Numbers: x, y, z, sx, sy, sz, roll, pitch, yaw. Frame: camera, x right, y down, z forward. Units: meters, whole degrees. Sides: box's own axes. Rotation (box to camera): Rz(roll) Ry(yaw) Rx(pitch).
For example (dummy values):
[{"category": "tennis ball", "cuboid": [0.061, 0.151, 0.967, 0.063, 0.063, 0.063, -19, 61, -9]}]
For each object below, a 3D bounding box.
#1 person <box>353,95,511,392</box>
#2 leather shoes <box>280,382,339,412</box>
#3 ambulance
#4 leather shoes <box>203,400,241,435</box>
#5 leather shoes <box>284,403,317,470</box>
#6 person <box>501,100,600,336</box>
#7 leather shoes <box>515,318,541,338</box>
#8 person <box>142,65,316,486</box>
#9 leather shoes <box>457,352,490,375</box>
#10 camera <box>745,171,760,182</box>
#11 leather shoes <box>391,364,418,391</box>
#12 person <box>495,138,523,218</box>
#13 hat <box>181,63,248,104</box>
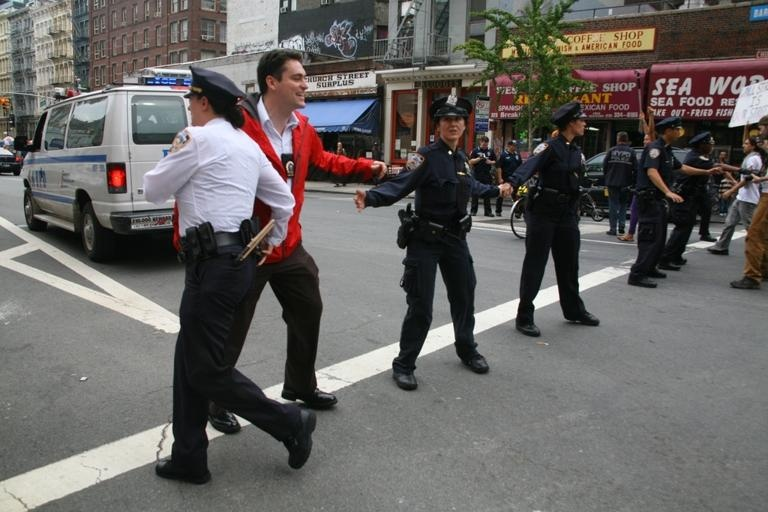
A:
[{"category": "person", "cuboid": [0.379, -0.068, 5.724, 1.284, 2.635, 1.090, 1, 1, 44]}, {"category": "leather shoes", "cuboid": [-0.619, 1.176, 4.983, 0.489, 0.205, 0.178, 4, 9, -8]}, {"category": "ambulance", "cuboid": [-4.862, -1.541, 11.199, 3.000, 2.650, 5.417, -7, 13, -41]}, {"category": "leather shoes", "cuboid": [-1.306, 1.262, 4.672, 0.403, 0.141, 0.150, 5, 5, 42]}, {"category": "leather shoes", "cuboid": [-0.600, 1.279, 4.141, 0.151, 0.381, 0.187, -1, -13, 39]}, {"category": "person", "cuboid": [1.658, -0.341, 6.751, 1.304, 2.449, 0.987, 1, 1, 43]}, {"category": "leather shoes", "cuboid": [1.604, 0.801, 6.644, 0.283, 0.133, 0.251, 4, 14, 15]}, {"category": "person", "cuboid": [-1.089, 0.041, 4.534, 1.509, 2.735, 1.158, -2, -3, 30]}, {"category": "leather shoes", "cuboid": [0.855, 1.024, 5.705, 0.141, 0.121, 0.303, -3, 2, -35]}, {"category": "camera", "cuboid": [5.754, -1.253, 9.316, 0.180, 0.081, 0.243, -3, 16, 1]}, {"category": "leather shoes", "cuboid": [0.180, 1.098, 5.393, 0.129, 0.110, 0.275, 2, 2, -25]}, {"category": "person", "cuboid": [3.654, -2.172, 17.133, 1.002, 2.198, 0.695, 1, 5, -17]}, {"category": "hat", "cuboid": [-1.131, -1.144, 4.064, 0.422, 0.196, 0.357, 18, 16, 14]}]
